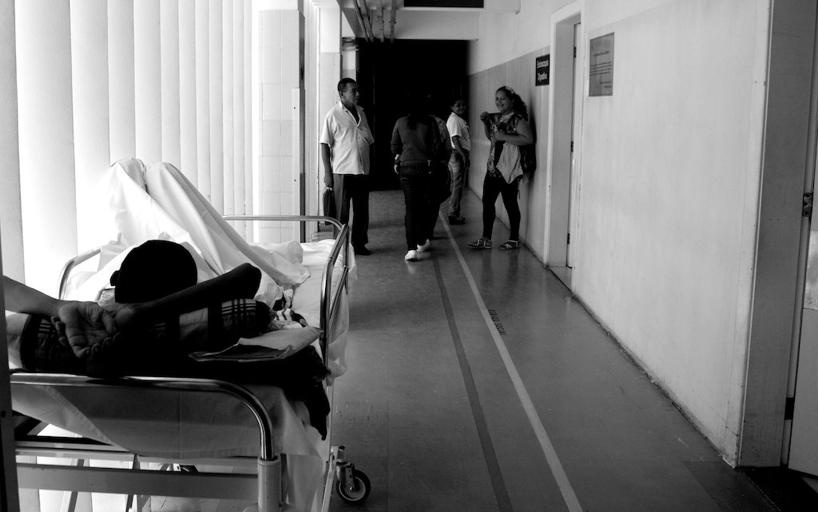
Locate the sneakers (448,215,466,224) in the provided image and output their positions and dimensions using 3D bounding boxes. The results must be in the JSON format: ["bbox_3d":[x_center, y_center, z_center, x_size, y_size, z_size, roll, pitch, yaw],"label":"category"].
[{"bbox_3d":[0.791,-0.579,11.209,0.274,0.126,0.122,0,10,19],"label":"sneakers"}]

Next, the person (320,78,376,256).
[{"bbox_3d":[-0.778,-1.078,8.717,0.586,2.202,0.636,-3,14,4],"label":"person"}]

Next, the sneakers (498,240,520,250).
[{"bbox_3d":[1.346,-0.131,9.233,0.292,0.127,0.108,-3,17,-11],"label":"sneakers"}]

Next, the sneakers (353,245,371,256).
[{"bbox_3d":[-0.615,-0.070,8.930,0.253,0.187,0.091,0,21,-8],"label":"sneakers"}]

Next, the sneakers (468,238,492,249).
[{"bbox_3d":[0.953,-0.163,9.251,0.323,0.161,0.123,0,5,5],"label":"sneakers"}]

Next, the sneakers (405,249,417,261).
[{"bbox_3d":[0.032,-0.023,8.659,0.167,0.134,0.276,-5,15,0],"label":"sneakers"}]
